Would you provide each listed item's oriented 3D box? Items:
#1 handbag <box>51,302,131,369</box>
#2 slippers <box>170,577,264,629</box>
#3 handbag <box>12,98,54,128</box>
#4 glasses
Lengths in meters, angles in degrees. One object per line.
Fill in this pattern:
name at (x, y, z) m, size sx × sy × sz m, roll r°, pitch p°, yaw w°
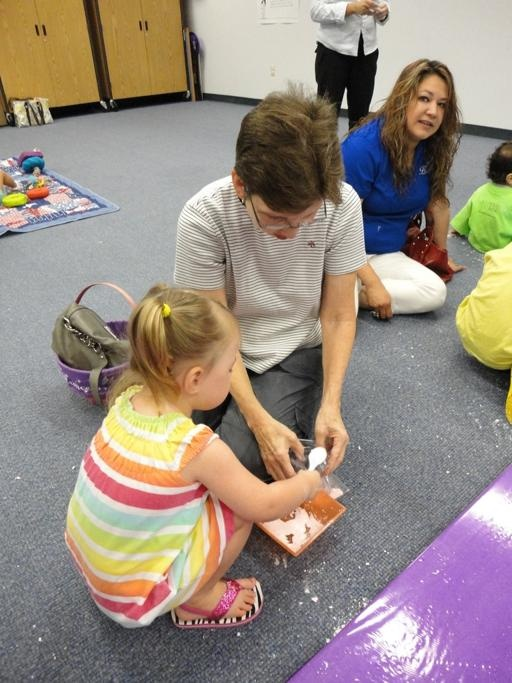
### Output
handbag at (-0.486, -0.010, 1.473) m, size 0.173 × 0.164 × 0.122 m, roll 30°, pitch 88°, yaw 38°
slippers at (-0.065, 0.472, 0.902) m, size 0.152 × 0.043 × 0.080 m, roll -3°, pitch 56°, yaw -6°
handbag at (-2.313, -2.335, 5.159) m, size 0.169 × 0.217 × 0.309 m, roll 28°, pitch 45°, yaw 36°
glasses at (0.032, -0.225, 0.878) m, size 0.082 × 0.035 × 0.082 m, roll 0°, pitch 60°, yaw -25°
